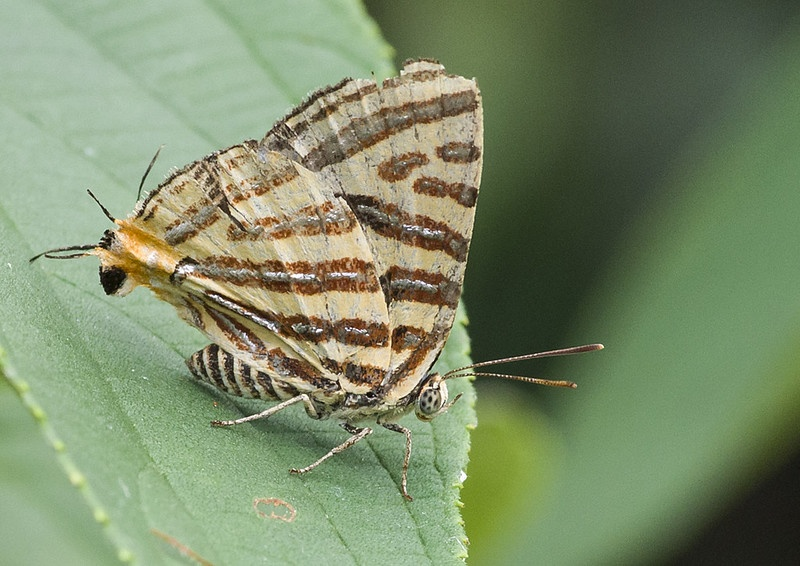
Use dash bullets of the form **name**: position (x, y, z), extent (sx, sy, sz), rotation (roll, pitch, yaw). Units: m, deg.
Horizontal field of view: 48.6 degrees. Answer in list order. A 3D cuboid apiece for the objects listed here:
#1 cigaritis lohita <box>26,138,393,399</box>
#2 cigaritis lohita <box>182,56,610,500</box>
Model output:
- **cigaritis lohita**: position (-0.711, -0.074, 4.490), extent (1.420, 0.966, 0.836), rotation (10, 53, 6)
- **cigaritis lohita**: position (-0.275, -0.081, 5.303), extent (1.943, 1.972, 2.982), rotation (13, 85, 18)
